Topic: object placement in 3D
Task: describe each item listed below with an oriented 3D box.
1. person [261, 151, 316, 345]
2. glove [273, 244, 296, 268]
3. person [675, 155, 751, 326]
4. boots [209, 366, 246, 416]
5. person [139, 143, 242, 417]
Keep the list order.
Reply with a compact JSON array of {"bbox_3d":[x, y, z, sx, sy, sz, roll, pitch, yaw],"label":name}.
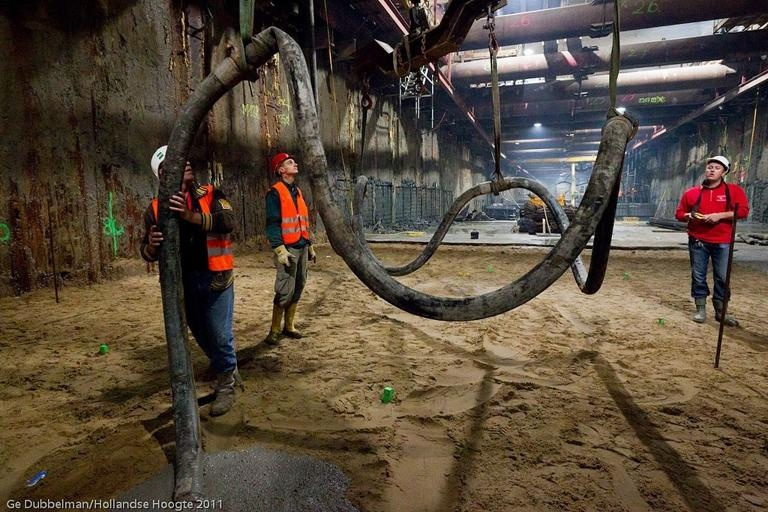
[{"bbox_3d":[-1.414,-0.101,7.231,0.727,2.764,0.797,-1,8,-9],"label":"person"},{"bbox_3d":[-1.420,0.007,6.865,0.272,0.236,0.113,-2,28,-47],"label":"glove"},{"bbox_3d":[5.004,-0.209,7.609,0.897,2.591,0.588,6,10,35],"label":"person"},{"bbox_3d":[-1.924,1.670,5.915,0.230,0.361,0.645,-1,-1,2],"label":"boots"},{"bbox_3d":[-2.194,0.328,5.713,0.932,3.135,0.966,-3,9,-23],"label":"person"}]
